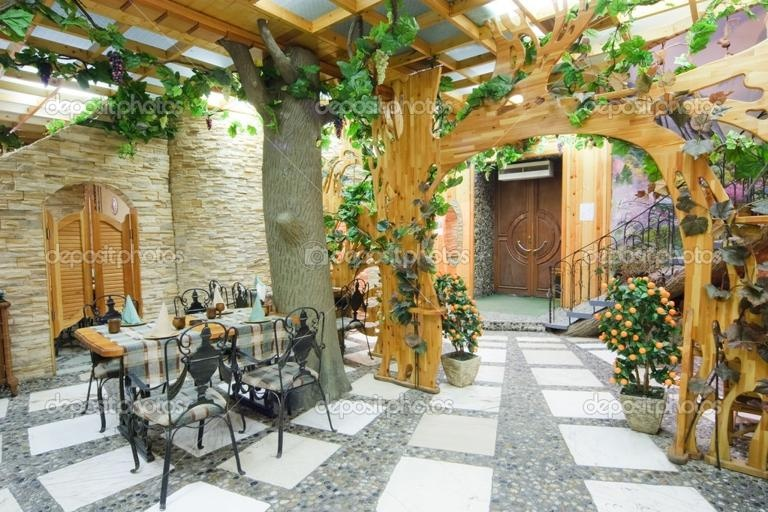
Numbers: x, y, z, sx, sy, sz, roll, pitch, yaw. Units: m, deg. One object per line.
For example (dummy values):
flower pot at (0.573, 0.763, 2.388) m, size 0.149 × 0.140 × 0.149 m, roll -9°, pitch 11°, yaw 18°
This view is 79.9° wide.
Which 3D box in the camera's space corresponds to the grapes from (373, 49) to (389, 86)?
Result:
grapes at (-0.028, -2.008, 4.856) m, size 0.151 × 0.346 × 0.374 m, roll -2°, pitch 0°, yaw 0°

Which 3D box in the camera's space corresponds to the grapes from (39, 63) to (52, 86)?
grapes at (-3.179, -1.705, 4.326) m, size 0.106 × 0.201 × 0.283 m, roll -2°, pitch 0°, yaw -35°

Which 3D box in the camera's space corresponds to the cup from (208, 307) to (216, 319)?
cup at (-1.883, 0.647, 5.097) m, size 0.114 × 0.101 × 0.104 m, roll 0°, pitch -5°, yaw 0°

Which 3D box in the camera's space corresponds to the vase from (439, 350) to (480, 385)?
vase at (0.991, 1.377, 5.723) m, size 0.459 × 0.324 × 0.467 m, roll -4°, pitch -4°, yaw 42°

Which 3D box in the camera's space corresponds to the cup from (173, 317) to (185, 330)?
cup at (-2.079, 0.697, 4.737) m, size 0.127 × 0.100 × 0.116 m, roll 0°, pitch 3°, yaw 0°

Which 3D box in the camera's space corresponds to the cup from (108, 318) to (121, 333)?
cup at (-2.713, 0.713, 4.635) m, size 0.141 × 0.128 × 0.132 m, roll 3°, pitch -2°, yaw 0°

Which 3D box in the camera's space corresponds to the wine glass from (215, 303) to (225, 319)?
wine glass at (-1.856, 0.614, 5.221) m, size 0.149 × 0.186 × 0.128 m, roll -1°, pitch 2°, yaw -12°

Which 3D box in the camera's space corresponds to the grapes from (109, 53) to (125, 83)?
grapes at (-2.500, -1.775, 4.314) m, size 0.111 × 0.281 × 0.146 m, roll -2°, pitch 0°, yaw -22°
